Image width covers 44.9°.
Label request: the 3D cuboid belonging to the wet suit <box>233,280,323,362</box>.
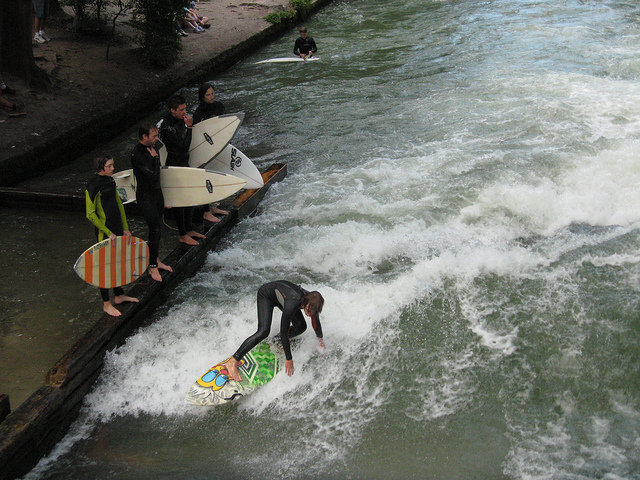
[{"bbox_3d":[-0.582,1.495,13.128,1.178,1.129,1.227,14,50,13],"label":"wet suit"}]

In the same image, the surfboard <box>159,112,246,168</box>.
[{"bbox_3d":[-2.127,-2.069,15.259,0.747,2.579,0.370,27,72,-27],"label":"surfboard"}]

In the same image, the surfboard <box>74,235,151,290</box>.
[{"bbox_3d":[-3.460,0.383,13.235,1.567,0.257,0.818,-9,87,18],"label":"surfboard"}]

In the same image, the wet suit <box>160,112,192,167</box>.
[{"bbox_3d":[-2.631,-1.835,14.227,0.322,1.020,0.325,-5,75,-8],"label":"wet suit"}]

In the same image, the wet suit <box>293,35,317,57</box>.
[{"bbox_3d":[-0.413,-5.689,23.361,0.698,0.862,0.518,-3,40,0],"label":"wet suit"}]

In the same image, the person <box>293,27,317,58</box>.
[{"bbox_3d":[-0.439,-5.827,23.013,0.657,0.947,0.666,4,48,5],"label":"person"}]
